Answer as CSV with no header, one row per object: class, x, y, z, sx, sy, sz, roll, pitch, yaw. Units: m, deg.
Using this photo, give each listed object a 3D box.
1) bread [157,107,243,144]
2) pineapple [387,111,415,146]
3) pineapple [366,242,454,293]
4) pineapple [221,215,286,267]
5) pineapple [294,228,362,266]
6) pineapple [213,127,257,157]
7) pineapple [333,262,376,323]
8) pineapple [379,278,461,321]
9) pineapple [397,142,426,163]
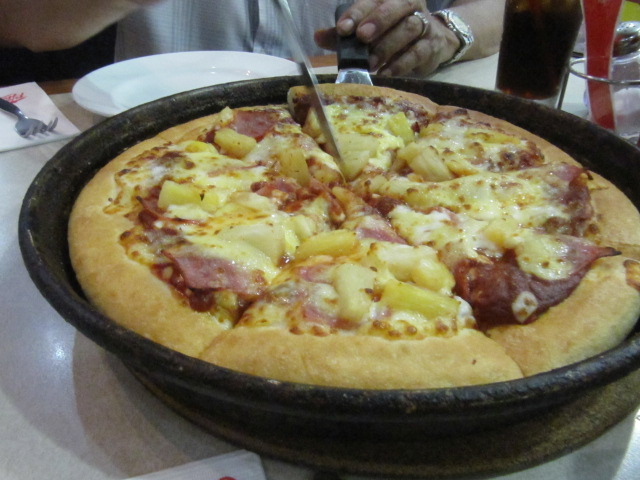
bread,-0.588,-0.549,2.737,0.314,0.029,0.095,-26,38,-24
pineapple,0.388,-0.547,2.814,0.114,0.056,0.173,-22,70,-12
pineapple,0.331,0.052,2.044,0.351,0.096,0.181,28,54,24
pineapple,-0.211,-0.012,2.048,0.310,0.146,0.193,-7,21,-26
pineapple,0.032,0.014,2.061,0.269,0.070,0.118,-8,59,4
pineapple,-0.403,-0.448,2.633,0.193,0.058,0.125,32,52,11
pineapple,0.122,0.173,1.871,0.135,0.046,0.199,-4,51,-1
pineapple,0.337,0.205,1.886,0.258,0.077,0.120,13,55,12
pineapple,0.408,-0.401,2.562,0.104,0.033,0.099,-31,14,-27
